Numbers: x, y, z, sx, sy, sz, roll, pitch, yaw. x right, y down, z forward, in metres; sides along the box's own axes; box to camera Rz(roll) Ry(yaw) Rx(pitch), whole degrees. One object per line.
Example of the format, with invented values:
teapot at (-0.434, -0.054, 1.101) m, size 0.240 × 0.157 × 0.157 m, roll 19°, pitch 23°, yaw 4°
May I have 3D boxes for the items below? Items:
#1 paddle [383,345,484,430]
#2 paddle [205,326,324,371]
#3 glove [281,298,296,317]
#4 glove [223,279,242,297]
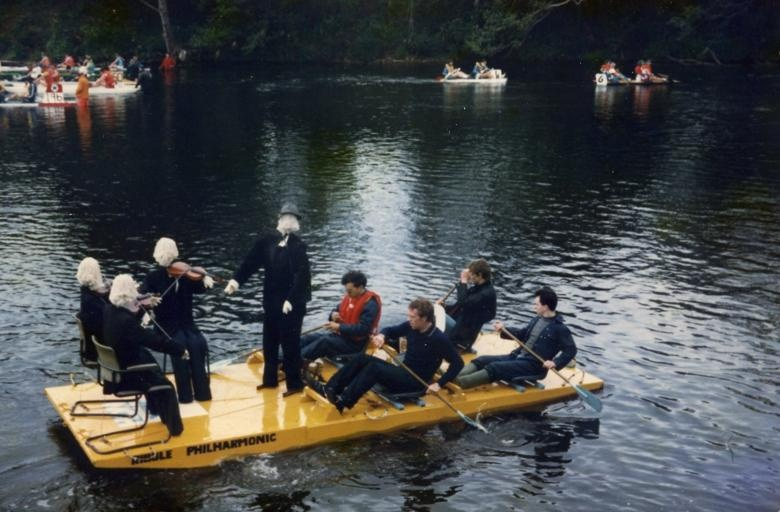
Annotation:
paddle at (1.234, 4.072, 28.739) m, size 3.851 × 0.266 × 0.509 m, roll 34°, pitch -21°, yaw 1°
paddle at (-3.913, 2.950, 29.728) m, size 3.367 × 0.365 × 0.390 m, roll -18°, pitch -22°, yaw -21°
glove at (-3.087, 1.521, 28.319) m, size 0.308 × 0.391 × 0.145 m, roll 7°, pitch 2°, yaw 12°
glove at (-5.206, 1.056, 31.119) m, size 0.221 × 0.514 × 0.502 m, roll 32°, pitch 14°, yaw -46°
